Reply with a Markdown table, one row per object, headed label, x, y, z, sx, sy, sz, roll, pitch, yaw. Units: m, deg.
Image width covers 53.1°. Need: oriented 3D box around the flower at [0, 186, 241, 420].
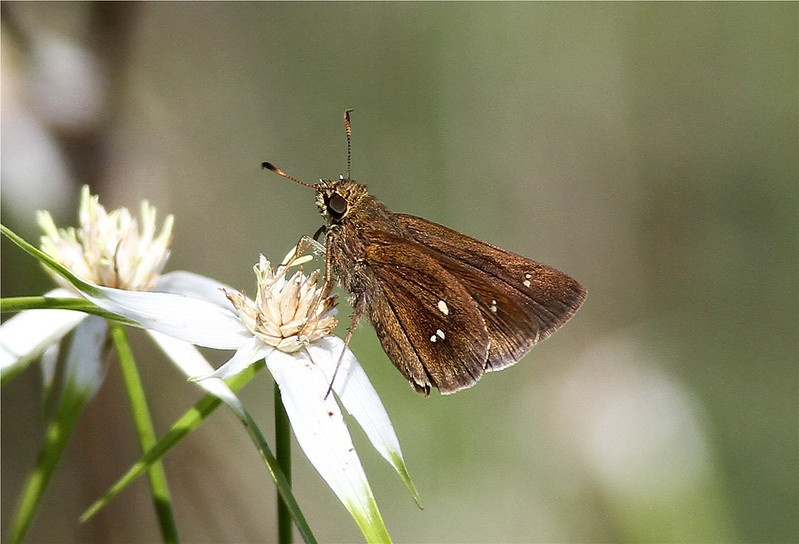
| label | x | y | z | sx | sy | sz | roll | pitch | yaw |
| --- | --- | --- | --- | --- | --- | --- | --- | --- | --- |
| flower | -0.655 | 0.007 | 1.738 | 0.480 | 0.470 | 0.278 | 2 | -82 | -33 |
